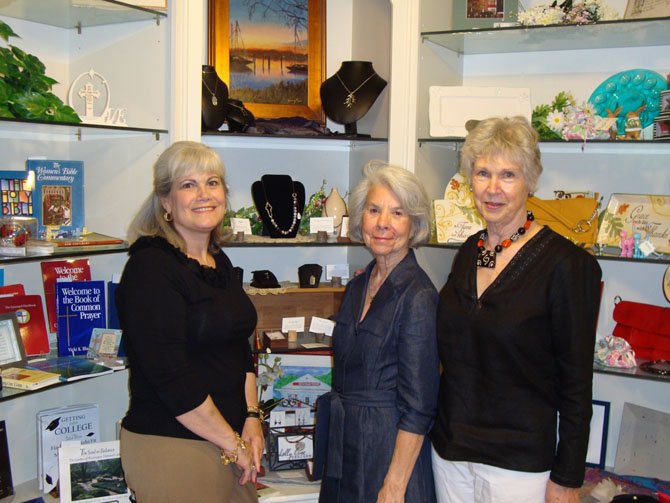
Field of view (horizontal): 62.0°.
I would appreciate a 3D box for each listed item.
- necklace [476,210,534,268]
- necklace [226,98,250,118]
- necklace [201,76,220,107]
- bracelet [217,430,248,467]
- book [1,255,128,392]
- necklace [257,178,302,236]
[{"bbox_3d":[0.637,-0.060,2.147,0.058,0.251,0.172,24,2,-32],"label":"necklace"},{"bbox_3d":[-0.564,-0.827,3.184,0.119,0.046,0.076,21,40,25],"label":"necklace"},{"bbox_3d":[-0.688,-0.878,3.060,0.081,0.155,0.072,-5,10,-12],"label":"necklace"},{"bbox_3d":[-0.386,0.762,2.153,0.087,0.122,0.046,-2,1,7],"label":"bracelet"},{"bbox_3d":[-1.331,0.238,2.832,0.566,0.434,0.243,-7,11,-22],"label":"book"},{"bbox_3d":[-0.340,-0.257,3.227,0.284,0.377,0.194,2,-9,-14],"label":"necklace"}]
